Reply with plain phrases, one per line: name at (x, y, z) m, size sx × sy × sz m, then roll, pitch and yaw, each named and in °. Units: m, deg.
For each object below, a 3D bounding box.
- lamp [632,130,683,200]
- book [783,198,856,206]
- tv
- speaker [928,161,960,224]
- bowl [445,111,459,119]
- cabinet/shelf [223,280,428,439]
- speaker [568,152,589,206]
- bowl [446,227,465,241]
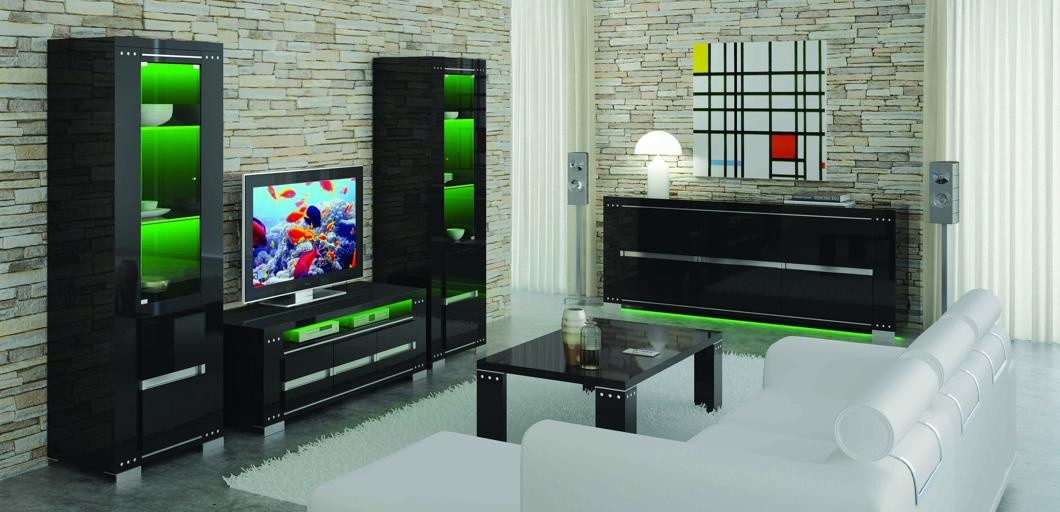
lamp at (1.794, -1.310, 9.395) m, size 0.638 × 0.889 × 0.692 m, roll 2°, pitch 13°, yaw 9°
book at (3.632, -0.685, 8.431) m, size 0.812 × 0.072 × 0.293 m, roll 3°, pitch 12°, yaw 15°
tv at (-2.360, -0.196, 6.746) m, size 0.486 × 1.188 × 1.781 m, roll 4°, pitch 7°, yaw 35°
speaker at (4.879, -0.740, 7.888) m, size 0.360 × 0.741 × 0.257 m, roll 5°, pitch 15°, yaw 19°
bowl at (-0.884, -1.581, 7.501) m, size 0.128 × 0.040 × 0.108 m, roll 0°, pitch 6°, yaw 8°
cabinet/shelf at (-2.457, 1.007, 7.195) m, size 1.430 × 0.950 × 2.612 m, roll 4°, pitch 5°, yaw 19°
speaker at (0.676, -1.103, 9.542) m, size 0.268 × 0.742 × 0.268 m, roll 0°, pitch 14°, yaw -1°
bowl at (-0.848, -0.256, 7.641) m, size 0.203 × 0.094 × 0.169 m, roll 0°, pitch 1°, yaw -7°
